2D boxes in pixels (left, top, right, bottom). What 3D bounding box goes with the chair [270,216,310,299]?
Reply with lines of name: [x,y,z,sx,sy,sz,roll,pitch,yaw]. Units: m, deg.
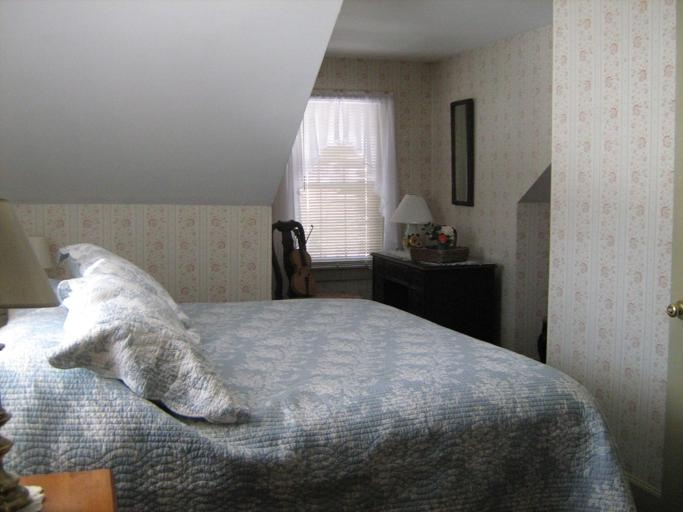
chair: [-0.425,0.048,4.752,0.355,0.676,0.234,2,-10,-38]

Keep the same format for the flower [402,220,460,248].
flower: [0.741,-0.172,4.799,0.410,0.194,0.234,2,1,40]

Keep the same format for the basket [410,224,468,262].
basket: [0.778,-0.072,4.701,0.321,0.305,0.440,0,1,-17]

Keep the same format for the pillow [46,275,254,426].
pillow: [-0.676,0.316,2.063,0.583,0.410,0.633,-4,11,-17]

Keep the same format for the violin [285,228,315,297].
violin: [-0.325,0.132,4.636,0.224,0.412,0.167,4,11,21]

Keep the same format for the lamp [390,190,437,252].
lamp: [0.620,-0.274,4.995,0.338,0.539,0.359,6,8,30]
